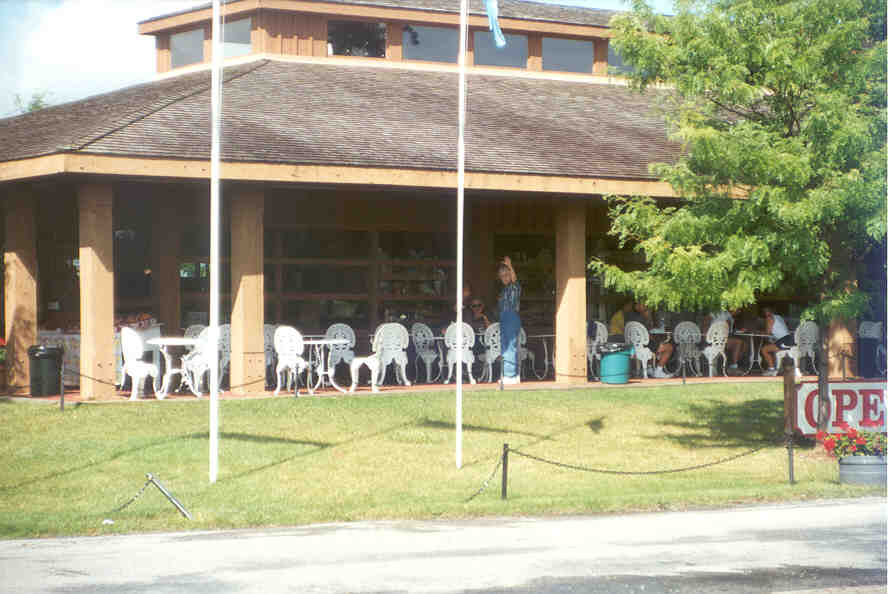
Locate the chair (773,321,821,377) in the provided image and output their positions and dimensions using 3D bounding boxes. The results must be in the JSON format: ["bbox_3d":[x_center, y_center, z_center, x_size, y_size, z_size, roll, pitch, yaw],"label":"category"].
[{"bbox_3d":[7.591,1.087,28.121,0.845,1.013,1.947,-3,-7,13],"label":"chair"}]

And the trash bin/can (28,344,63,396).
[{"bbox_3d":[-7.679,1.397,24.713,0.689,1.090,0.720,1,2,20],"label":"trash bin/can"}]

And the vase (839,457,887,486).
[{"bbox_3d":[6.429,2.653,20.099,0.486,0.302,0.481,4,-7,-39],"label":"vase"}]

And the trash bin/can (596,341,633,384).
[{"bbox_3d":[3.389,1.311,26.287,0.692,0.727,0.725,1,-7,-2],"label":"trash bin/can"}]

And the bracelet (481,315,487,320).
[{"bbox_3d":[0.776,0.389,27.331,0.076,0.074,0.019,-4,-18,-9],"label":"bracelet"}]

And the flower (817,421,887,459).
[{"bbox_3d":[6.518,2.303,20.720,0.904,0.517,1.180,-2,-6,10],"label":"flower"}]
